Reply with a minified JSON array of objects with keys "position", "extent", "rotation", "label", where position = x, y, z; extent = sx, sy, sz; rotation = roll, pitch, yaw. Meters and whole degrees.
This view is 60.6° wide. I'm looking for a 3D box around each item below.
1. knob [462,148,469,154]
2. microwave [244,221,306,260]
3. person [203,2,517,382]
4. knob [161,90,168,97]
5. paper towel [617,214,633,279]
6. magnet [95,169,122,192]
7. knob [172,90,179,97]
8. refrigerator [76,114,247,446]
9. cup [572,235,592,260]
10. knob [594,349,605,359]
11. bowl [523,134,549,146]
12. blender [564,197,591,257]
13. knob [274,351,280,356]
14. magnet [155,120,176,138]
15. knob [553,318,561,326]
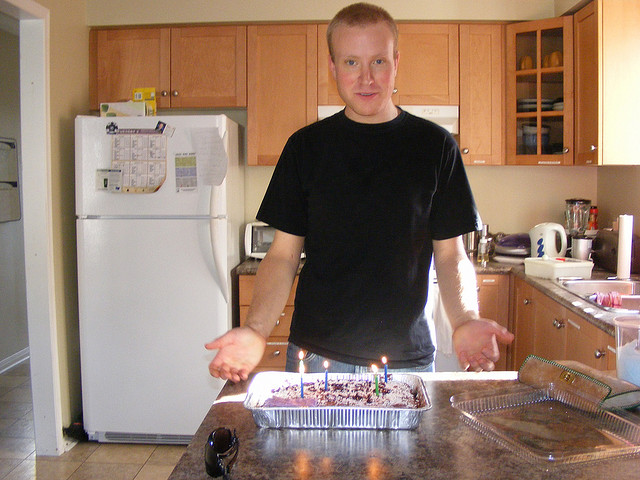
[{"position":[0.933,-0.564,3.513],"extent":[0.055,0.031,0.020],"rotation":[-10,18,-31],"label":"knob"},{"position":[-0.274,0.042,3.583],"extent":[0.377,0.304,0.264],"rotation":[8,3,3],"label":"microwave"},{"position":[0.144,-0.116,1.717],"extent":[0.776,1.203,0.591],"rotation":[2,15,7],"label":"person"},{"position":[-0.986,-0.923,3.490],"extent":[0.039,0.042,0.017],"rotation":[1,15,4],"label":"knob"},{"position":[1.598,0.035,2.867],"extent":[0.082,0.337,0.136],"rotation":[8,17,29],"label":"paper towel"},{"position":[-1.181,-0.329,3.103],"extent":[0.128,0.128,0.124],"rotation":[2,7,2],"label":"magnet"},{"position":[-0.918,-0.927,3.489],"extent":[0.043,0.044,0.014],"rotation":[-2,-1,-11],"label":"knob"},{"position":[-1.067,0.128,3.519],"extent":[1.150,1.920,1.152],"rotation":[6,12,12],"label":"refrigerator"},{"position":[1.519,0.046,3.246],"extent":[0.086,0.142,0.135],"rotation":[2,-2,1],"label":"cup"},{"position":[1.219,0.496,2.383],"extent":[0.036,0.038,0.040],"rotation":[-13,-8,32],"label":"knob"},{"position":[1.360,-0.619,3.446],"extent":[0.149,0.069,0.033],"rotation":[2,15,6],"label":"bowl"},{"position":[1.727,-0.057,3.711],"extent":[0.166,0.454,0.234],"rotation":[-7,10,-30],"label":"blender"},{"position":[-0.252,0.680,3.271],"extent":[0.030,0.025,0.010],"rotation":[2,15,7],"label":"knob"},{"position":[-0.866,-0.616,3.084],"extent":[0.143,0.089,0.090],"rotation":[16,-4,-10],"label":"magnet"},{"position":[1.200,0.415,2.778],"extent":[0.025,0.033,0.046],"rotation":[9,29,-4],"label":"knob"}]
